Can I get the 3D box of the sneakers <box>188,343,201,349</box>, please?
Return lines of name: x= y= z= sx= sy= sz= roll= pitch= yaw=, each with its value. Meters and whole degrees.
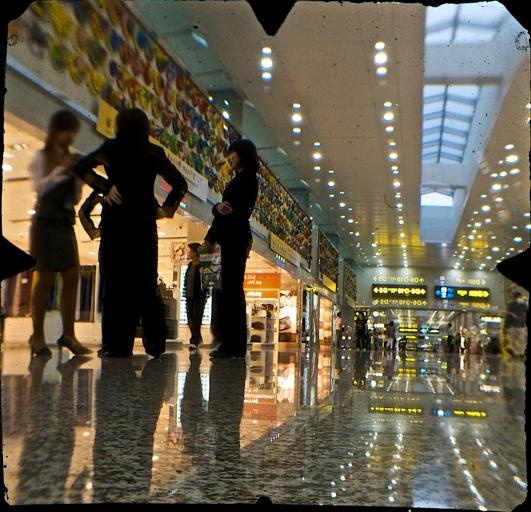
sneakers: x=-0.976 y=1.248 z=6.305 sx=0.129 sy=0.108 sz=0.180 roll=1 pitch=-12 yaw=2

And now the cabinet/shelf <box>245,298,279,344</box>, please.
cabinet/shelf: x=-0.153 y=2.029 z=13.740 sx=0.849 sy=1.069 sz=1.580 roll=2 pitch=-10 yaw=1

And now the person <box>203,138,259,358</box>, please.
person: x=-0.277 y=-0.093 z=3.671 sx=0.406 sy=1.770 sz=0.307 roll=2 pitch=-11 yaw=-3

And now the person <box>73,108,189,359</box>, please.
person: x=-0.910 y=-0.146 z=3.104 sx=0.736 sy=1.617 sz=0.386 roll=6 pitch=-12 yaw=-24

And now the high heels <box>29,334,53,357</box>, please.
high heels: x=-1.563 y=0.621 z=3.169 sx=0.118 sy=0.151 sz=0.345 roll=9 pitch=-16 yaw=-31
